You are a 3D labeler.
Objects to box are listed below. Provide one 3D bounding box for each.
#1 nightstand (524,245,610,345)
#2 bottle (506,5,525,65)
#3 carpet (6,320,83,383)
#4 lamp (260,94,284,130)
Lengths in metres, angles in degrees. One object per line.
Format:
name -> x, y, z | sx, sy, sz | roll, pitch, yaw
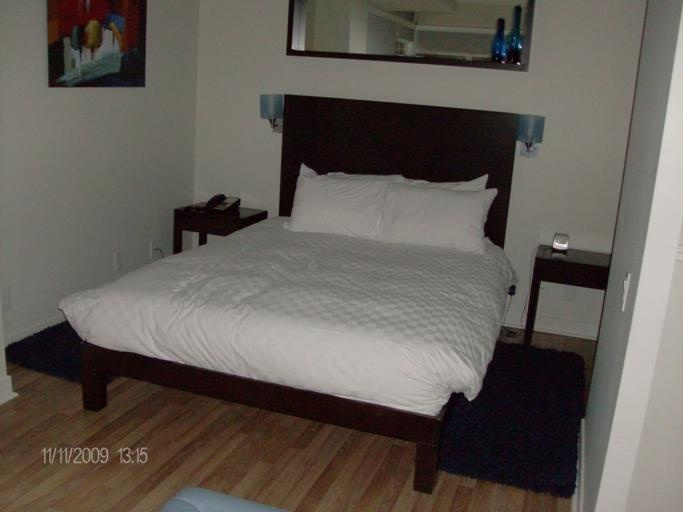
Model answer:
nightstand -> 1.711, 0.305, 4.079 | 0.523, 0.687, 0.550 | 8, 17, 18
bottle -> 1.340, -1.693, 4.091 | 0.122, 0.429, 0.051 | 8, 16, 17
carpet -> -1.841, 0.624, 3.503 | 0.657, 0.063, 0.471 | 8, 17, 15
lamp -> -0.562, -1.278, 4.795 | 0.251, 0.289, 0.269 | 7, 10, 26
